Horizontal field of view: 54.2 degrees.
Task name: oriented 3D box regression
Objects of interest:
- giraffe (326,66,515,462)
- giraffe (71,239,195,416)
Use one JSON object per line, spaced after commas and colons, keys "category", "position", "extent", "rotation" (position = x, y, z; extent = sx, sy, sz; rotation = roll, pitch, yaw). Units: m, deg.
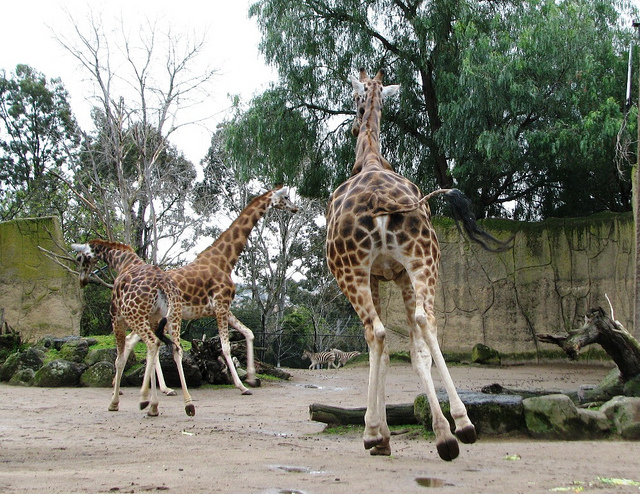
{"category": "giraffe", "position": [0.831, -0.079, 7.199], "extent": [1.570, 4.857, 1.069], "rotation": [-6, -8, 32]}
{"category": "giraffe", "position": [-3.093, 1.251, 10.204], "extent": [0.817, 3.119, 3.028], "rotation": [3, -10, -42]}
